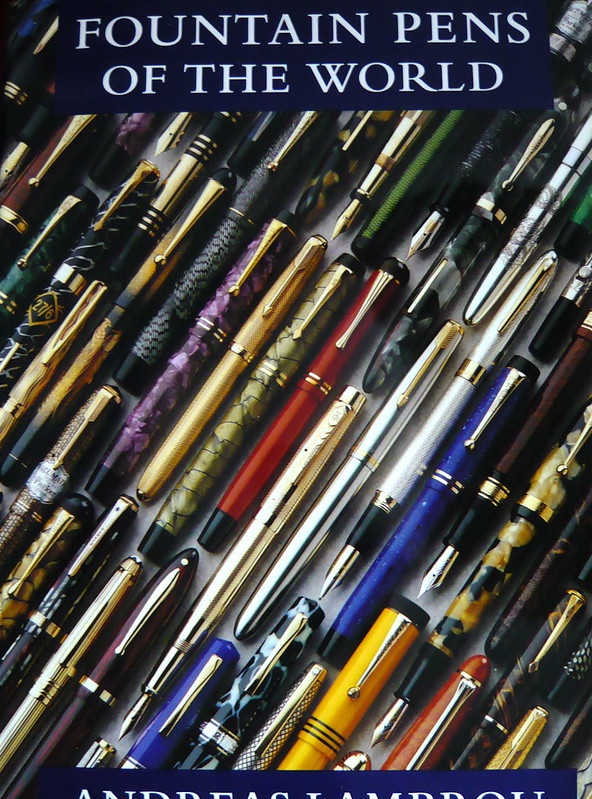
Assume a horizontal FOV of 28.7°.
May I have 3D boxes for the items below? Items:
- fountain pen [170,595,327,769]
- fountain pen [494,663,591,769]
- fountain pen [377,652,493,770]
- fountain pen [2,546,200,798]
[{"bbox_3d":[-0.037,0.223,0.896,0.025,0.139,0.038,39,-5,-3],"label":"fountain pen"},{"bbox_3d":[0.188,0.245,0.888,0.013,0.091,0.013,42,-10,15],"label":"fountain pen"},{"bbox_3d":[0.106,0.242,0.891,0.021,0.089,0.030,39,-13,6],"label":"fountain pen"},{"bbox_3d":[-0.152,0.220,0.901,0.045,0.225,0.030,41,-11,6],"label":"fountain pen"}]
